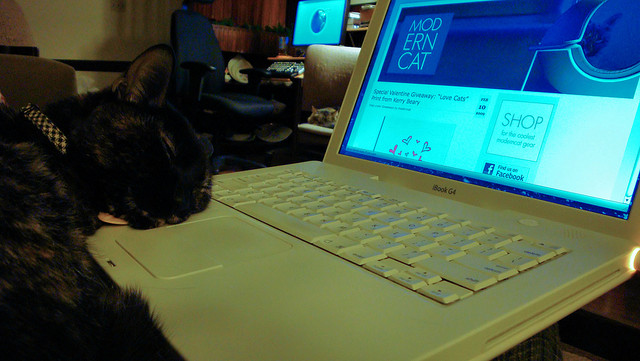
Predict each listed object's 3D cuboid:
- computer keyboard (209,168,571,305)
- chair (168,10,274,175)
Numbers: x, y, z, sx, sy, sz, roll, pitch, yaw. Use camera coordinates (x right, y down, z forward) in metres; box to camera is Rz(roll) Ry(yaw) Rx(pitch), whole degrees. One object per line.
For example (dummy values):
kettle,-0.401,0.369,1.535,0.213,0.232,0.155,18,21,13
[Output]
computer keyboard,0.059,0.056,0.631,0.509,0.040,0.188,19,24,30
chair,-0.715,-0.675,3.208,0.799,1.166,0.777,0,14,-19
